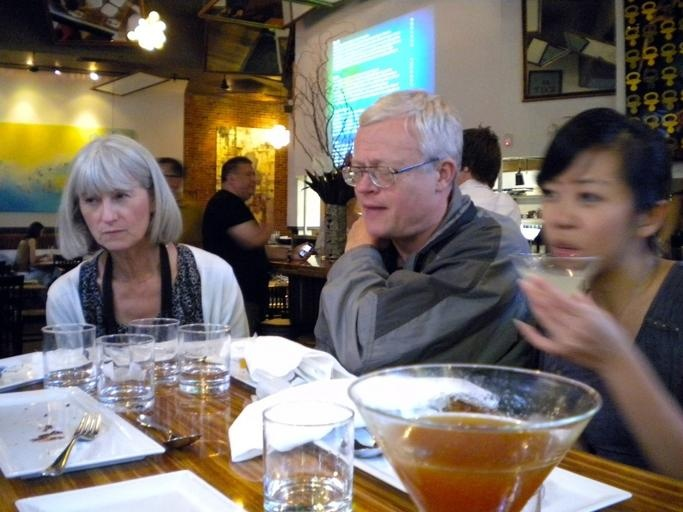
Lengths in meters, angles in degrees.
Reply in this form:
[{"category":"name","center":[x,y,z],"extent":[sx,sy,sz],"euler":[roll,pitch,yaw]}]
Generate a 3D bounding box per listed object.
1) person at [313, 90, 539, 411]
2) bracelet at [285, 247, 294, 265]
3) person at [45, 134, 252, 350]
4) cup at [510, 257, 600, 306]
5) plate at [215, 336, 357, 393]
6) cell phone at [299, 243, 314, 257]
[{"category":"person","center":[0.149,0.182,2.411],"extent":[0.940,1.634,0.848],"euler":[12,-21,-25]},{"category":"bracelet","center":[-0.433,-0.003,4.516],"extent":[0.106,0.114,0.135],"euler":[1,-8,-4]},{"category":"person","center":[-0.778,-0.065,2.170],"extent":[0.748,0.835,0.428],"euler":[-3,7,-25]},{"category":"cup","center":[0.443,0.036,1.121],"extent":[0.163,0.072,0.125],"euler":[2,6,22]},{"category":"plate","center":[-0.158,0.229,1.287],"extent":[0.171,0.061,0.235],"euler":[1,-3,-36]},{"category":"cell phone","center":[-0.274,-0.043,4.132],"extent":[0.071,0.070,0.125],"euler":[36,31,-11]}]
